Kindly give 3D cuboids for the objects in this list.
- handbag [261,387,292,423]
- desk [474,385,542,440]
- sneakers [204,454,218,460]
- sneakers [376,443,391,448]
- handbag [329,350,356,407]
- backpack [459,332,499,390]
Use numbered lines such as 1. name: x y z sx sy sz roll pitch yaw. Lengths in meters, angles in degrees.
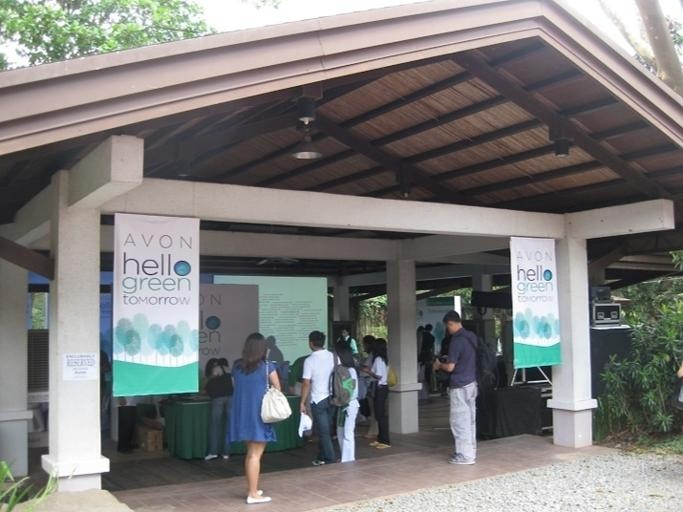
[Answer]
1. handbag: -0.717 1.605 6.428 0.330 0.349 0.195 -6 9 -18
2. desk: 2.843 2.689 10.382 1.401 0.922 0.795 2 -6 -13
3. sneakers: -2.038 3.122 9.218 0.214 0.079 0.075 3 -5 -25
4. sneakers: 0.682 3.083 9.605 0.158 0.043 0.078 5 -6 -16
5. handbag: 0.030 1.800 8.135 0.325 0.592 0.456 -4 -15 26
6. backpack: 2.057 1.533 8.648 0.450 0.681 0.527 1 6 16
